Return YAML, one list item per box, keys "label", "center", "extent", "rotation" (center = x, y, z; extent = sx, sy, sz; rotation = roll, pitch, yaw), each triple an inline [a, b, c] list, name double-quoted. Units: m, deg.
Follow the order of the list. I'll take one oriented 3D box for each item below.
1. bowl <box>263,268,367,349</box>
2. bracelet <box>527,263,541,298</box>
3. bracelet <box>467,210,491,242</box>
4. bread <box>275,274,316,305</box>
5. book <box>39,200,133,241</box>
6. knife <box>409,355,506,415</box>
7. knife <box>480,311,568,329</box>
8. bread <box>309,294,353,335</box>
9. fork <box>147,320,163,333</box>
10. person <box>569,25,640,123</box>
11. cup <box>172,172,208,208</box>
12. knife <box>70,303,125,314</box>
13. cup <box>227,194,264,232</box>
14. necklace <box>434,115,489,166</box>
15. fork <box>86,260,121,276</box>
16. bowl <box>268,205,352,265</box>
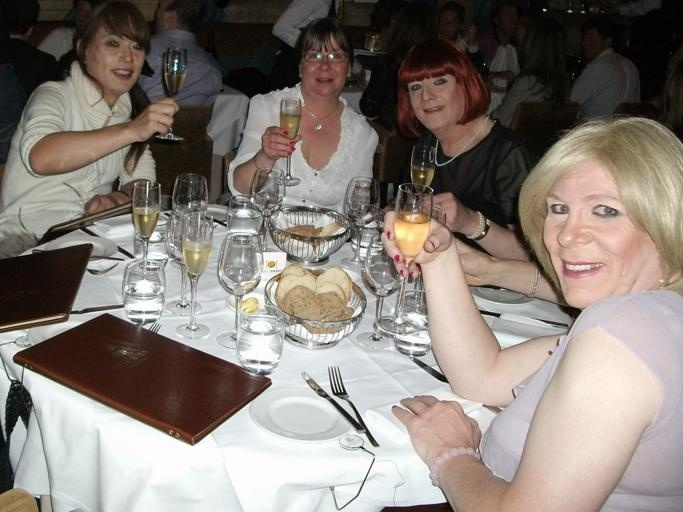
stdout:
- label: "bowl"
  center: [-0.102, 0.172, 1.474]
  extent: [0.307, 0.132, 0.310]
  rotation: [8, 38, -6]
- label: "bracelet"
  center: [0.746, 0.101, 1.813]
  extent: [0.023, 0.091, 0.091]
  rotation: [13, -21, 1]
- label: "bracelet"
  center: [0.653, -0.135, 2.209]
  extent: [0.046, 0.120, 0.105]
  rotation: [25, -4, -22]
- label: "bread"
  center: [-0.134, 0.112, 1.489]
  extent: [0.095, 0.095, 0.023]
  rotation: [-25, 3, -44]
- label: "book"
  center: [-1.149, -0.159, 2.133]
  extent: [0.025, 0.072, 0.541]
  rotation: [51, 39, 7]
- label: "knife"
  center: [0.326, 0.352, 1.286]
  extent: [0.265, 0.031, 0.014]
  rotation: [38, 10, 36]
- label: "knife"
  center: [0.626, 0.221, 1.642]
  extent: [0.338, 0.047, 0.024]
  rotation: [7, -10, -1]
- label: "bread"
  center: [-0.025, 0.163, 1.388]
  extent: [0.090, 0.039, 0.114]
  rotation: [1, 13, 11]
- label: "fork"
  center: [-0.558, 0.206, 1.407]
  extent: [0.033, 0.009, 0.034]
  rotation: [0, 39, -16]
- label: "person"
  center: [3.362, -2.375, 6.017]
  extent: [0.788, 1.234, 0.875]
  rotation: [17, 23, 30]
- label: "cup"
  center: [-0.599, -0.275, 1.890]
  extent: [0.132, 0.131, 0.130]
  rotation: [7, 24, -3]
- label: "knife"
  center: [-0.749, 0.161, 1.450]
  extent: [0.132, 0.019, 0.018]
  rotation: [-5, 59, -20]
- label: "cup"
  center: [-0.375, -0.158, 1.832]
  extent: [0.152, 0.157, 0.157]
  rotation: [1, 8, 0]
- label: "necklace"
  center: [0.672, -0.637, 2.588]
  extent: [0.082, 0.330, 0.219]
  rotation: [21, 18, -45]
- label: "fork"
  center: [-0.838, 0.042, 1.681]
  extent: [0.070, 0.012, 0.043]
  rotation: [-13, 35, -25]
- label: "bowl"
  center: [-0.133, -0.074, 1.969]
  extent: [0.320, 0.156, 0.326]
  rotation: [5, 26, -2]
